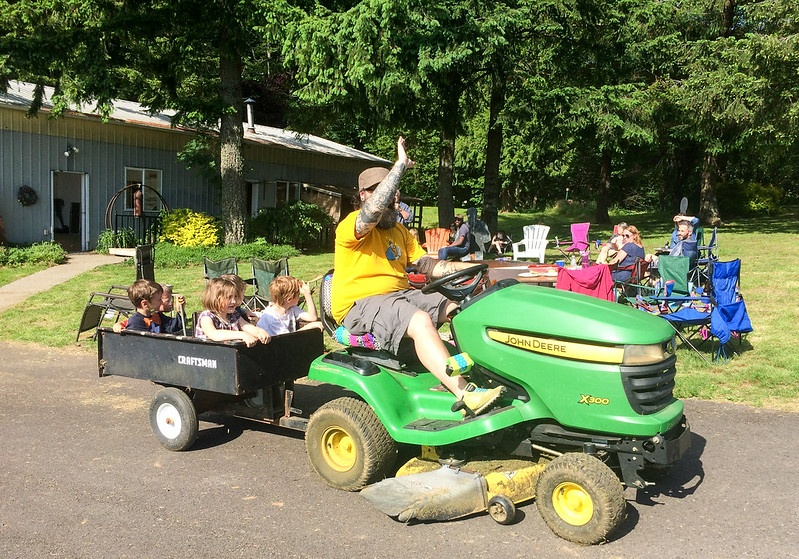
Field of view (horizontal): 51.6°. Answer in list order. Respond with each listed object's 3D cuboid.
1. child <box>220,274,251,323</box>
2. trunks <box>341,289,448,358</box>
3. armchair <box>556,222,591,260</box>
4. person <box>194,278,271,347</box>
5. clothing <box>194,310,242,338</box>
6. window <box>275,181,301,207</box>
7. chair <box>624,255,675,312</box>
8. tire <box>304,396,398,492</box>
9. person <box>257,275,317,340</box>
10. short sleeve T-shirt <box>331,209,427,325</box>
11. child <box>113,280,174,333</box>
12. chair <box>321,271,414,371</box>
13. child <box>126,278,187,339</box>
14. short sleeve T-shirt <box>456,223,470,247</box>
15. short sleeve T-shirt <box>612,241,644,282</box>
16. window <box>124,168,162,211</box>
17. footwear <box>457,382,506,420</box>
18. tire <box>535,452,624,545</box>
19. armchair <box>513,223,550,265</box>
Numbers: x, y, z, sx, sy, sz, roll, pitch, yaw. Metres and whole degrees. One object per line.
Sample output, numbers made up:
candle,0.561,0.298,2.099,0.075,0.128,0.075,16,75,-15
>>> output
child,-2.044,0.262,10.470,0.363,0.491,0.332,-1,23,-26
trunks,-0.079,0.365,9.508,0.666,0.384,1.054,5,9,21
armchair,4.762,-0.962,21.991,0.556,1.038,0.625,0,-1,1
person,-2.068,0.484,10.229,0.945,1.040,0.642,7,8,28
clothing,-2.240,0.510,10.382,0.502,0.335,0.575,5,6,17
window,-3.914,-3.001,28.759,0.130,0.899,1.148,15,18,41
chair,4.222,0.067,13.925,0.715,1.211,0.822,-3,11,-15
tire,-0.614,1.916,9.653,0.982,1.058,0.399,4,13,38
person,-1.404,0.504,10.604,0.726,1.030,0.521,12,12,19
short sleeve T-shirt,-0.267,-0.185,10.122,0.982,1.472,1.787,-1,-1,30
child,-3.326,0.383,10.713,0.673,0.769,0.626,0,14,-18
chair,-0.466,0.366,10.049,1.022,0.796,0.741,17,18,29
child,-3.224,0.405,10.848,0.639,0.908,0.670,19,25,25
short sleeve T-shirt,1.548,-1.077,19.634,0.376,0.637,0.741,0,6,12
short sleeve T-shirt,4.060,-0.305,14.603,0.547,0.739,0.373,20,-5,-18
window,-7.736,-2.771,24.766,0.071,1.624,1.341,11,10,29
footwear,0.870,1.279,9.131,0.601,0.305,0.224,-38,2,23
tire,1.941,2.368,8.972,0.893,0.991,0.374,-11,9,37
armchair,3.405,-0.949,21.390,0.791,0.922,1.597,1,6,3
